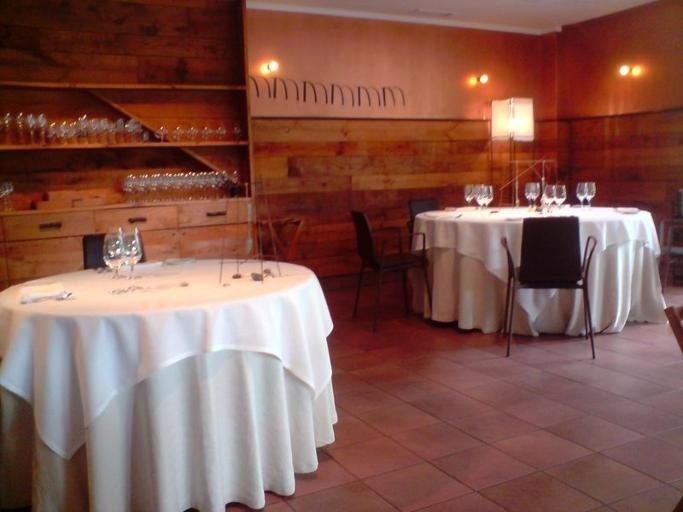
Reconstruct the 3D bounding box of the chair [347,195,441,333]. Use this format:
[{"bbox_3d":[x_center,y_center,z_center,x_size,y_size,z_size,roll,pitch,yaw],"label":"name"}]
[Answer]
[{"bbox_3d":[0.516,0.011,5.520,0.990,1.819,1.021,-3,7,-12],"label":"chair"}]
